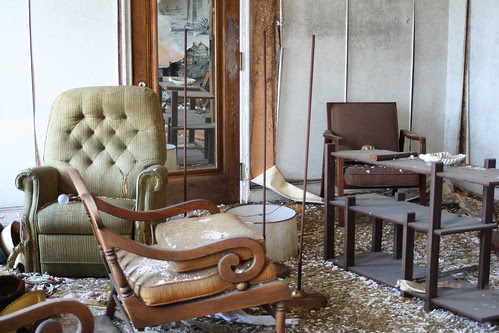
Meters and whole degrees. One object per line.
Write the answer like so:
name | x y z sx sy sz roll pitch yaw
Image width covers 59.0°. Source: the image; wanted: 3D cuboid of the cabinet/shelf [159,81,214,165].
cabinet/shelf | -0.615 -0.439 4.162 0.331 0.646 0.715 -4 22 -19

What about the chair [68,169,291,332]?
chair | -0.324 0.274 2.599 1.278 0.912 0.886 -6 19 -19

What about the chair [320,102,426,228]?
chair | 1.227 -0.112 4.387 1.068 0.926 0.894 -7 20 -17

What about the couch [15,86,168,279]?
couch | -1.093 0.084 3.286 1.151 1.161 0.981 0 18 8

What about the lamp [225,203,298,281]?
lamp | 0.155 0.510 3.360 0.568 0.363 0.544 -10 14 -37
